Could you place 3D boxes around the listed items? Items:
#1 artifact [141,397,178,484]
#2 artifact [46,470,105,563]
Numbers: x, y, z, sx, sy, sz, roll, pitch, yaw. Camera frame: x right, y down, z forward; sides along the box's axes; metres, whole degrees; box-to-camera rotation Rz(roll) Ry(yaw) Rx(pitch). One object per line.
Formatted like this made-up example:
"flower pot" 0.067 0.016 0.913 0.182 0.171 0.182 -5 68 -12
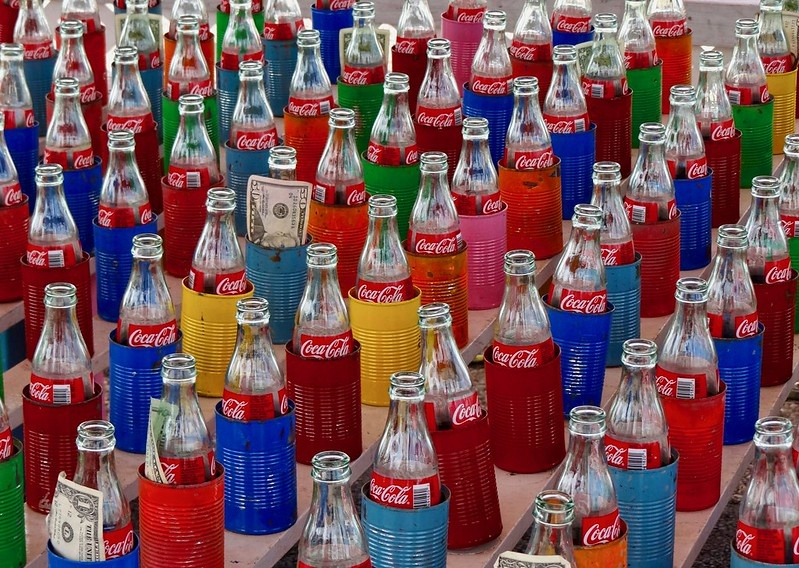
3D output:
"artifact" -0.463 0.299 1.950 0.058 0.153 0.071 -18 24 -35
"artifact" -0.591 0.432 1.868 0.152 0.156 0.060 14 26 41
